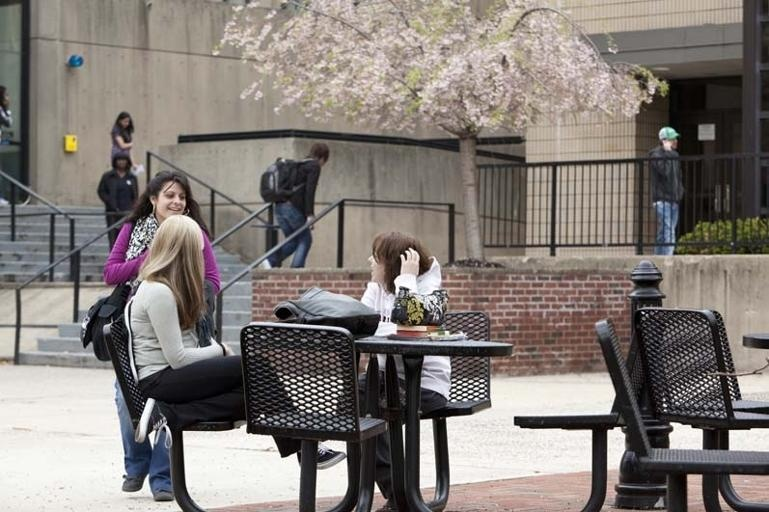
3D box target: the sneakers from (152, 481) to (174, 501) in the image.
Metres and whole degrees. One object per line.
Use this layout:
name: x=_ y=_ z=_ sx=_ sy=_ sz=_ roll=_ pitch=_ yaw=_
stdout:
sneakers: x=-2.507 y=2.671 z=19.379 sx=0.138 sy=0.138 sz=0.308 roll=2 pitch=-7 yaw=-26

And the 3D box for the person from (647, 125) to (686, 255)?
person: x=4.515 y=-1.040 z=27.018 sx=0.534 sy=2.047 sz=1.460 roll=0 pitch=0 yaw=9
